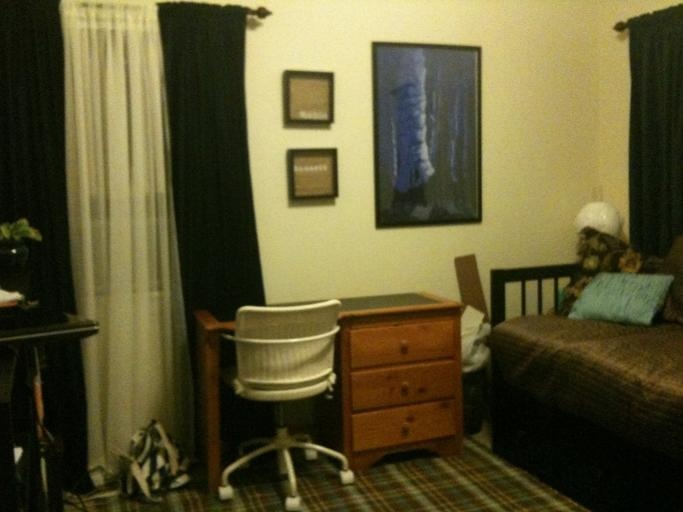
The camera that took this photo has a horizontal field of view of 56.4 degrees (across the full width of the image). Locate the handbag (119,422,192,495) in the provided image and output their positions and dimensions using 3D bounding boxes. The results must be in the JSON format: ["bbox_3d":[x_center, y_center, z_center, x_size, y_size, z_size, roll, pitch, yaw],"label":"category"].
[{"bbox_3d":[-0.956,1.060,3.349,0.330,0.254,0.351,-16,-6,-14],"label":"handbag"}]

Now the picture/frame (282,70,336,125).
[{"bbox_3d":[-0.205,-0.939,3.754,0.318,0.317,0.043,1,-1,-29],"label":"picture/frame"}]

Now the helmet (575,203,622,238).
[{"bbox_3d":[1.587,-0.214,3.961,0.232,0.234,0.311,-17,17,-40],"label":"helmet"}]
